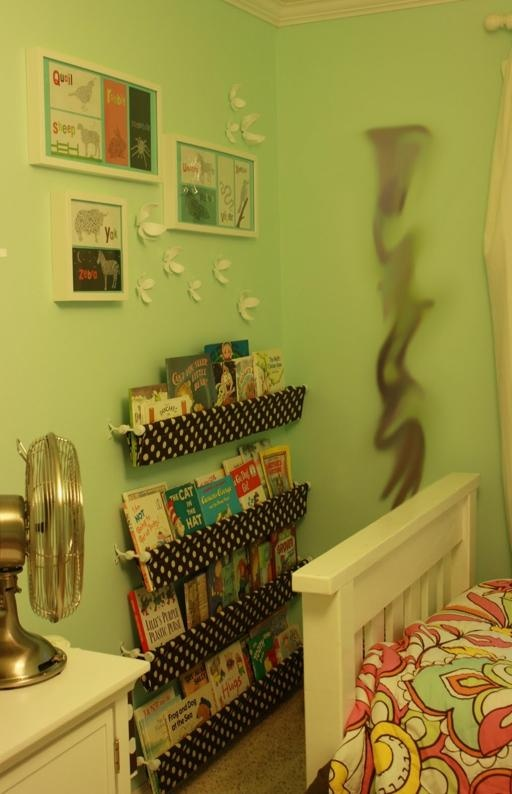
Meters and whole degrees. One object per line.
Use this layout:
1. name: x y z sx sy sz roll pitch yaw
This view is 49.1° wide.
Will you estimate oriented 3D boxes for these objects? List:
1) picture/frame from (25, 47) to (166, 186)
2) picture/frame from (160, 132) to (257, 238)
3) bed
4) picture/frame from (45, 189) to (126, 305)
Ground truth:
1. picture/frame: -0.380 -0.680 1.383 0.046 0.245 0.467 1 13 26
2. picture/frame: -0.140 -0.690 1.843 0.039 0.295 0.421 10 16 38
3. bed: 0.392 0.564 1.311 0.085 0.676 0.798 5 13 44
4. picture/frame: -0.402 -0.369 1.378 0.035 0.254 0.228 7 13 23
